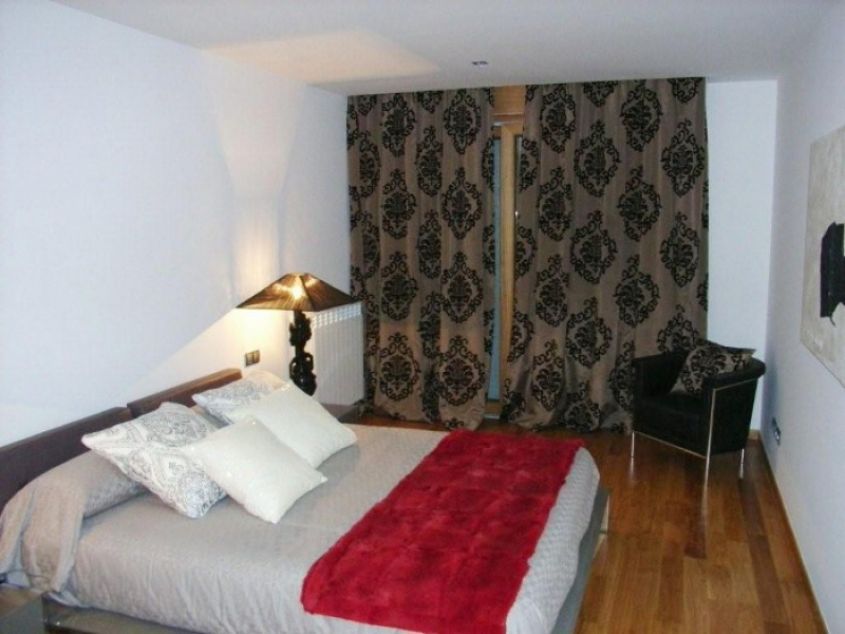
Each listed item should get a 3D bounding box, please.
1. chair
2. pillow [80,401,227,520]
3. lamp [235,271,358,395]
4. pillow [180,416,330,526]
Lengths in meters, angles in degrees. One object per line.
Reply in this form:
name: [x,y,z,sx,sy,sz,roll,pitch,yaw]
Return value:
chair: [2.168,0.699,5.091,0.835,0.972,0.872,8,12,43]
pillow: [-1.342,0.748,3.380,0.601,0.446,0.432,0,13,7]
lamp: [-0.881,0.143,4.824,0.757,0.950,0.777,1,10,13]
pillow: [-0.873,0.783,3.300,0.498,0.164,0.468,41,34,15]
